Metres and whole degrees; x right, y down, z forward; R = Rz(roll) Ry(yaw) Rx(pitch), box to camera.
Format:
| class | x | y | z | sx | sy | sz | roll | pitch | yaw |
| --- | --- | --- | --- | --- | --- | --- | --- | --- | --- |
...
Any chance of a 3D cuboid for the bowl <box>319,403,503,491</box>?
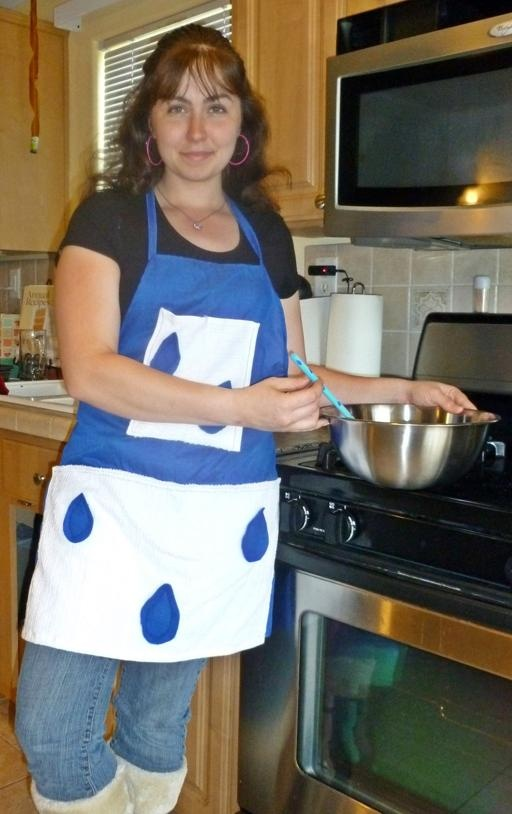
| class | x | y | z | sx | sy | sz | roll | pitch | yaw |
| --- | --- | --- | --- | --- | --- | --- | --- | --- | --- |
| bowl | 0.193 | 0.048 | 0.904 | 0.222 | 0.095 | 0.217 | 2 | 9 | 0 |
